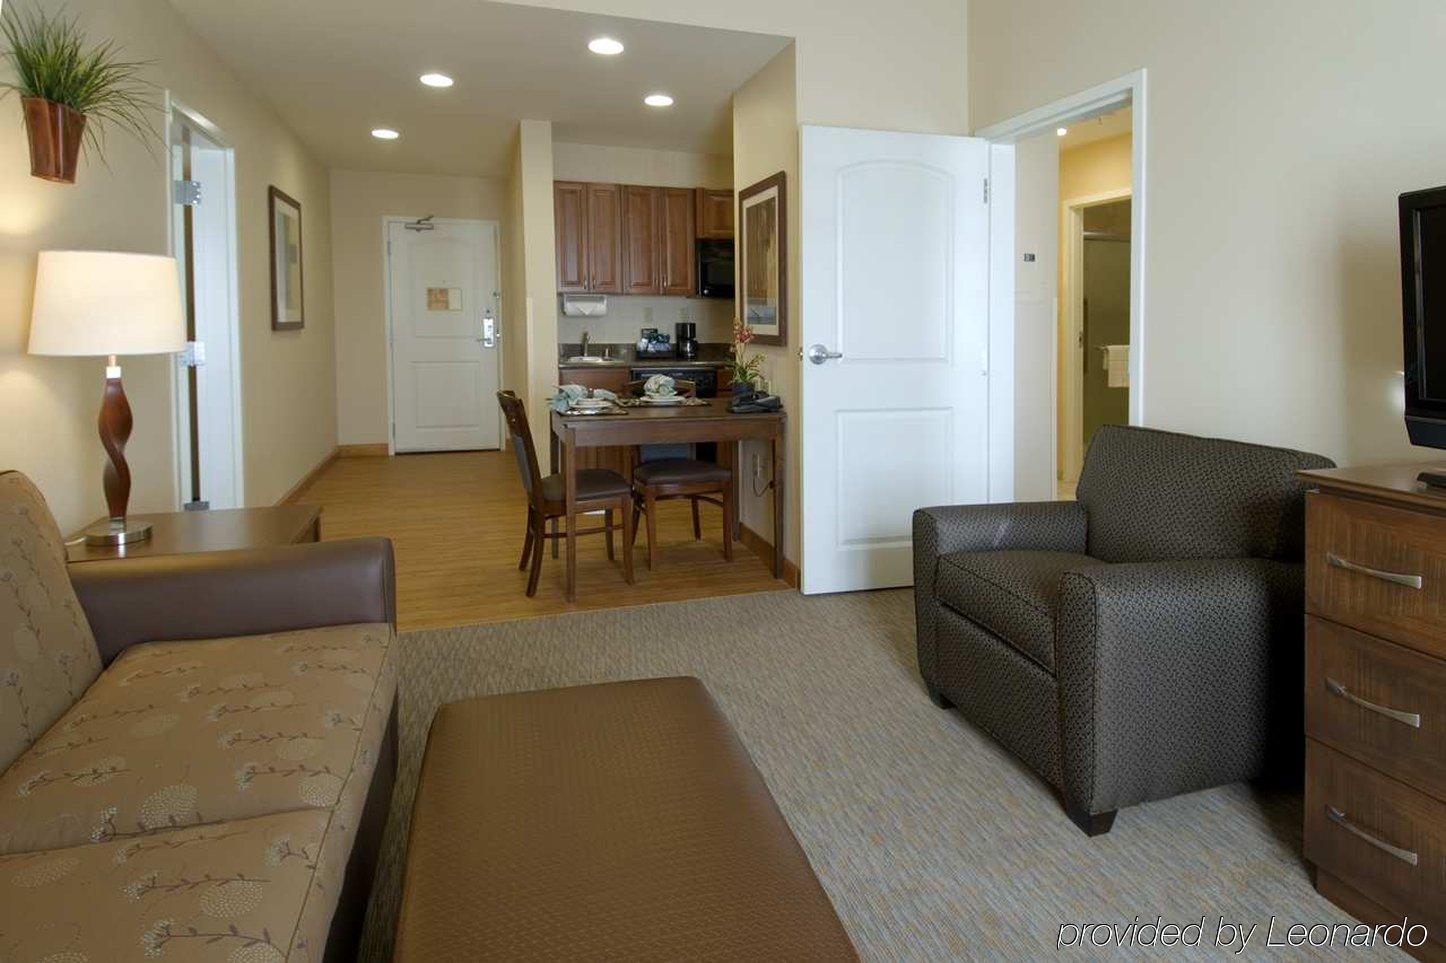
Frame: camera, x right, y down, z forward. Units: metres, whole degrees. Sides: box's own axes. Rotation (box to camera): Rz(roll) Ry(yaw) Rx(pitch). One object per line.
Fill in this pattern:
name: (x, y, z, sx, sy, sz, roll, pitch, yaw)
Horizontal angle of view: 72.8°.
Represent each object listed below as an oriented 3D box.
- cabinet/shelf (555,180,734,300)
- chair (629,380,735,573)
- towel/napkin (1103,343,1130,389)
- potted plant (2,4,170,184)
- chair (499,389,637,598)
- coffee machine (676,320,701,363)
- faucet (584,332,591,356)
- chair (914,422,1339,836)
cabinet/shelf: (-0.640, -1.880, 7.522, 1.113, 0.640, 0.339, -2, 6, -18)
chair: (-0.362, 0.027, 5.262, 0.620, 0.985, 0.679, 0, 1, -13)
towel/napkin: (2.800, -0.817, 6.997, 0.160, 0.320, 0.330, 4, 12, 17)
potted plant: (-2.254, -1.341, 3.455, 0.272, 0.601, 1.072, -5, 12, -22)
chair: (-0.803, -0.026, 5.055, 0.609, 0.954, 1.258, -2, 12, -9)
coffee machine: (-0.284, -1.149, 7.929, 0.186, 0.290, 0.329, 0, 11, -3)
faucet: (-1.095, -1.124, 7.909, 0.028, 0.159, 0.080, 4, 12, 17)
chair: (1.269, 0.439, 3.537, 1.100, 1.480, 1.515, -1, 3, -16)
